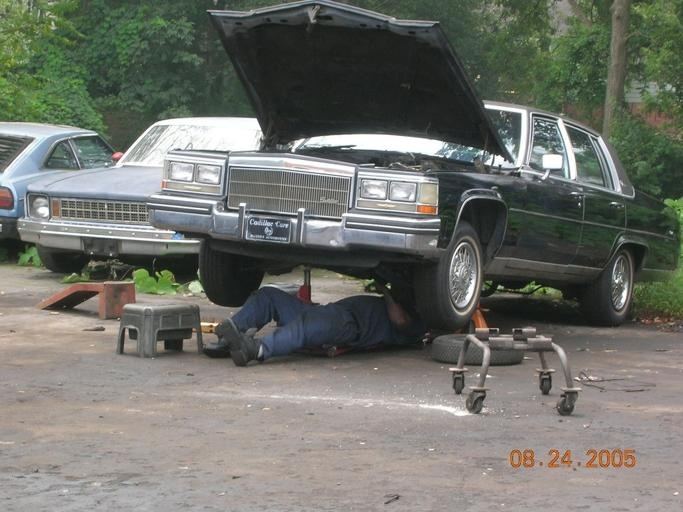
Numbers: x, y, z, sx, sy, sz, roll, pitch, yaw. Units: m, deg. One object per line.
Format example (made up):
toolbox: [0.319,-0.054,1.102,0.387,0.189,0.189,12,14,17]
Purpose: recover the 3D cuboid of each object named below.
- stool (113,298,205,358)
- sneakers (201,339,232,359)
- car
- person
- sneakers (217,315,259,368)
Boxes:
stool: [-1.521,0.610,7.397,0.445,0.340,0.610,-1,-2,41]
sneakers: [-1.019,0.760,7.185,0.135,0.087,0.231,6,4,12]
car: [1.036,-0.662,8.864,2.817,2.137,5.226,5,0,40]
person: [-0.261,0.598,7.364,1.524,0.536,0.691,12,16,-36]
sneakers: [-0.813,0.680,6.944,0.153,0.345,0.277,-17,11,47]
